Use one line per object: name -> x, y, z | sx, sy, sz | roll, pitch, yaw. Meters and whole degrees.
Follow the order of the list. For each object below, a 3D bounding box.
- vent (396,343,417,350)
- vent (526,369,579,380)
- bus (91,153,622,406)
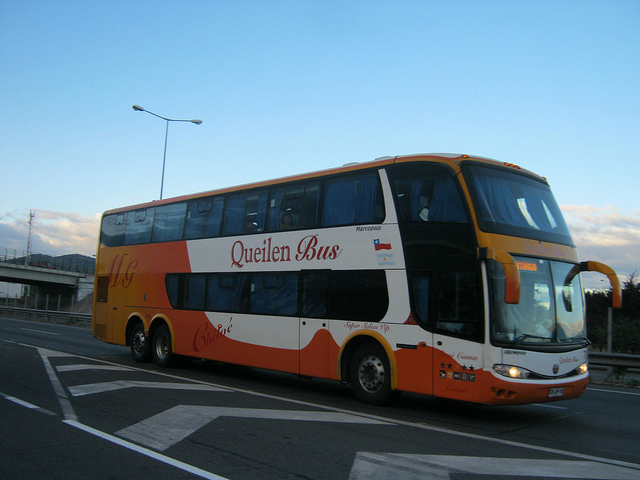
vent -> 1.655, 2.104, 9.969 | 0.072, 0.114, 0.447 | 3, -1, -42
vent -> 4.158, 2.429, 9.302 | 1.299, 0.133, 0.070 | 5, -8, -29
bus -> -0.889, 1.093, 14.443 | 14.469, 5.172, 3.957 | -4, -11, 42
